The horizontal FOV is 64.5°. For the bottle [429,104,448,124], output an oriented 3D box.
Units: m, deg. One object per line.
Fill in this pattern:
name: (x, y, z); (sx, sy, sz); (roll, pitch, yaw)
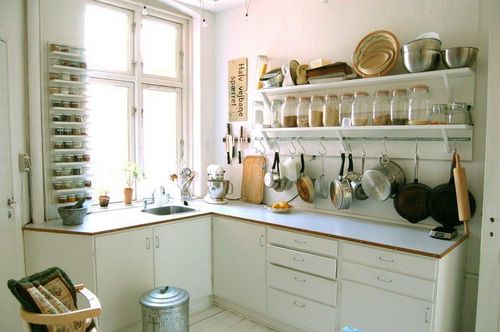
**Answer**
bottle: (1.791, -0.473, 3.786); (0.171, 0.248, 0.215); (1, -2, 26)

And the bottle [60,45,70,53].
bottle: (-2.019, -1.280, 4.320); (0.084, 0.075, 0.082); (1, 7, -7)

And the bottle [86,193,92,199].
bottle: (-1.794, 0.340, 4.416); (0.056, 0.028, 0.071); (-2, 8, -29)

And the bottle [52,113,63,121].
bottle: (-2.081, -0.524, 4.286); (0.082, 0.074, 0.054); (4, -2, -29)

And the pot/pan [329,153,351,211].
pot/pan: (0.956, 0.188, 4.248); (0.189, 0.516, 0.315); (-6, 4, -11)

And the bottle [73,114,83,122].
bottle: (-1.908, -0.528, 4.408); (0.062, 0.105, 0.115); (4, 3, 44)

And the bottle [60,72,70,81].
bottle: (-2.008, -0.979, 4.316); (0.084, 0.079, 0.083); (2, 5, 3)

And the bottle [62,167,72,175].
bottle: (-2.018, 0.062, 4.359); (0.070, 0.065, 0.069); (2, 9, -11)

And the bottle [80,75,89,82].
bottle: (-1.855, -0.974, 4.425); (0.072, 0.069, 0.130); (5, -4, -25)

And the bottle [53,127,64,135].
bottle: (-2.070, -0.375, 4.294); (0.130, 0.116, 0.065); (0, 4, -32)

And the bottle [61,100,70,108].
bottle: (-2.010, -0.678, 4.323); (0.075, 0.070, 0.076); (7, 8, 33)

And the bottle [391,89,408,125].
bottle: (1.480, -0.577, 3.887); (0.197, 0.350, 0.091); (-6, 4, -9)

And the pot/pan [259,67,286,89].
pot/pan: (0.261, -0.995, 4.558); (0.236, 0.084, 0.214); (-30, 27, -26)

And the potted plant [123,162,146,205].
potted plant: (-1.451, 0.210, 4.951); (0.279, 0.384, 0.241); (-6, 4, -17)

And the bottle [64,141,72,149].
bottle: (-2.003, -0.225, 4.358); (0.074, 0.072, 0.073); (1, 5, 2)

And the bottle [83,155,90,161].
bottle: (-1.842, -0.087, 4.473); (0.047, 0.061, 0.088); (4, 4, 37)

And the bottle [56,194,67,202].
bottle: (-2.049, 0.356, 4.315); (0.076, 0.072, 0.075); (4, 4, 16)

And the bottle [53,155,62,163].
bottle: (-2.092, -0.078, 4.304); (0.119, 0.106, 0.063); (-1, 5, -44)

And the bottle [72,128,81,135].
bottle: (-1.928, -0.376, 4.388); (0.112, 0.106, 0.059); (-3, 9, -38)

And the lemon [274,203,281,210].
lemon: (0.316, 0.469, 4.584); (0.085, 0.062, 0.102); (-5, 3, 6)

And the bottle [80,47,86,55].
bottle: (-1.864, -1.279, 4.416); (0.066, 0.071, 0.065); (0, 5, -11)

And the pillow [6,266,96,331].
pillow: (-1.525, 1.095, 3.073); (0.195, 0.580, 0.540); (-32, -11, 36)

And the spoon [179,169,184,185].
spoon: (-0.917, 0.139, 5.314); (0.075, 0.125, 0.187); (-6, 3, -11)

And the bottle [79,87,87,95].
bottle: (-1.868, -0.839, 4.465); (0.075, 0.075, 0.077); (-3, 21, -1)

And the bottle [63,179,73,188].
bottle: (-2.009, 0.195, 4.377); (0.074, 0.067, 0.097); (5, 6, 32)

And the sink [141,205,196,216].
sink: (-1.020, 0.549, 4.849); (0.250, 0.107, 0.306); (4, 3, 44)

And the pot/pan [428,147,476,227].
pot/pan: (1.886, 0.222, 3.779); (0.103, 0.687, 0.410); (-5, 8, -41)

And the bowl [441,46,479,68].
bowl: (1.975, -1.015, 3.743); (0.379, 0.195, 0.366); (-1, 12, 0)

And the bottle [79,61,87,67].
bottle: (-1.860, -1.123, 4.407); (0.093, 0.086, 0.049); (-1, 7, -19)

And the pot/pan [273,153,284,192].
pot/pan: (0.340, 0.082, 4.708); (0.139, 0.377, 0.217); (-9, 6, -1)

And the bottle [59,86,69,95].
bottle: (-2.022, -0.829, 4.316); (0.077, 0.070, 0.078); (6, 6, 36)
